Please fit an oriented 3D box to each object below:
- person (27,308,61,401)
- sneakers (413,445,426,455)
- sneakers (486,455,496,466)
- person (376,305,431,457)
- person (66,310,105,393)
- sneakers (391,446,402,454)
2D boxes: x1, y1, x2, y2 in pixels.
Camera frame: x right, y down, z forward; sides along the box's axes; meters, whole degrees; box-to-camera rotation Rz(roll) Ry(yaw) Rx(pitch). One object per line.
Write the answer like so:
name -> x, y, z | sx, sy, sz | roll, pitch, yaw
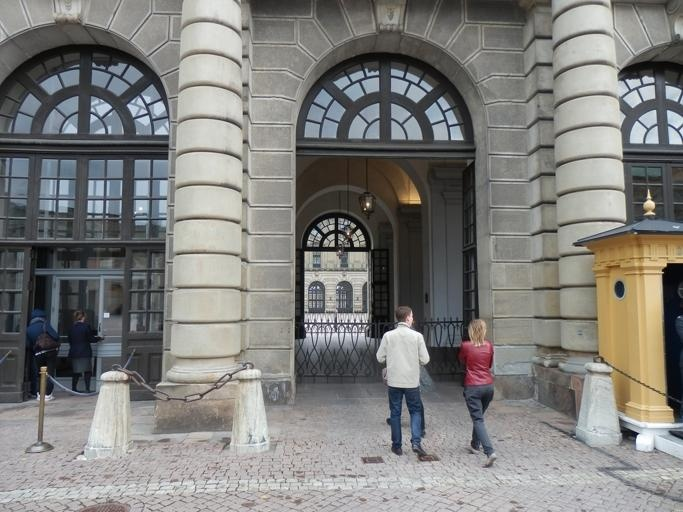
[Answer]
person -> -6.897, 2.260, 13.572 | 0.712, 2.064, 0.555 | 1, 2, 21
sneakers -> 1.259, 3.149, 9.546 | 0.107, 0.125, 0.284 | -11, -32, 23
sneakers -> 2.353, 3.240, 9.320 | 0.096, 0.111, 0.263 | 5, -49, -12
person -> 1.041, 2.080, 9.916 | 0.811, 2.407, 0.839 | 0, 2, 7
person -> -6.088, 2.265, 13.942 | 0.648, 1.944, 0.454 | -1, 3, -27
sneakers -> 0.941, 3.226, 9.802 | 0.185, 0.130, 0.172 | 0, 2, -1
